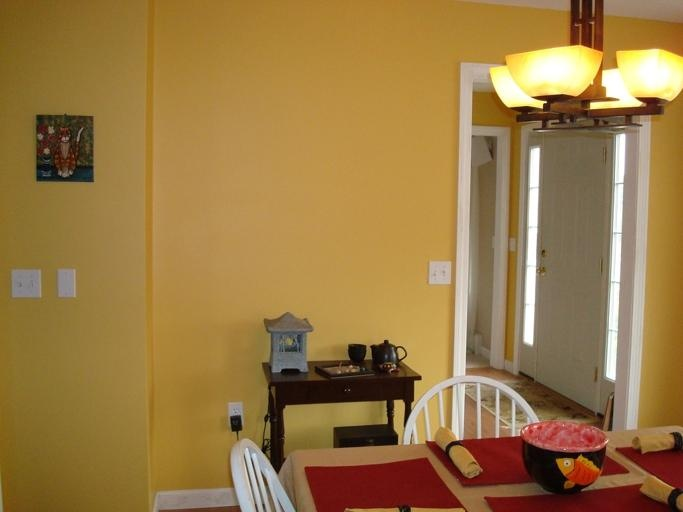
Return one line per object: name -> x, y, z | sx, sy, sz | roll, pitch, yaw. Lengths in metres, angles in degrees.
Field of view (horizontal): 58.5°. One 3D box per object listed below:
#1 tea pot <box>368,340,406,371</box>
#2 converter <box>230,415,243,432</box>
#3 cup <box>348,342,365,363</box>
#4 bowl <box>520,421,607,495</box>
tea pot -> 0.263, 0.570, 3.463 | 0.187, 0.146, 0.138 | 2, -2, 6
converter -> -0.601, 0.960, 3.494 | 0.084, 0.092, 0.048 | -1, -4, -9
cup -> 0.088, 0.558, 3.443 | 0.087, 0.085, 0.098 | 2, -7, -9
bowl -> 0.807, 0.764, 2.239 | 0.305, 0.212, 0.319 | 3, -5, 0
